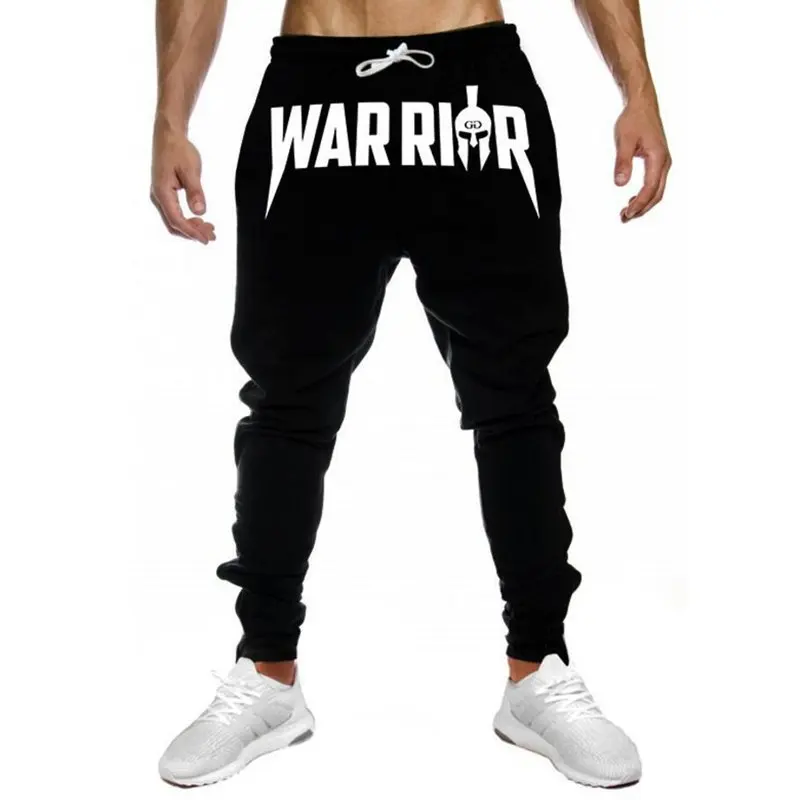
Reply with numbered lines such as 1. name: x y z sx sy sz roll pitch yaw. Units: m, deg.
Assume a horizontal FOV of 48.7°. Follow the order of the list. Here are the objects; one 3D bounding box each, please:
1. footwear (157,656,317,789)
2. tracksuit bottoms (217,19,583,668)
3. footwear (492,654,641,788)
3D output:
1. footwear: -0.309 0.583 1.632 0.156 0.167 0.357 -1 4 32
2. tracksuit bottoms: -0.024 -0.088 1.616 0.650 1.156 0.379 -3 18 -11
3. footwear: 0.315 0.586 1.657 0.158 0.159 0.385 0 0 -23
